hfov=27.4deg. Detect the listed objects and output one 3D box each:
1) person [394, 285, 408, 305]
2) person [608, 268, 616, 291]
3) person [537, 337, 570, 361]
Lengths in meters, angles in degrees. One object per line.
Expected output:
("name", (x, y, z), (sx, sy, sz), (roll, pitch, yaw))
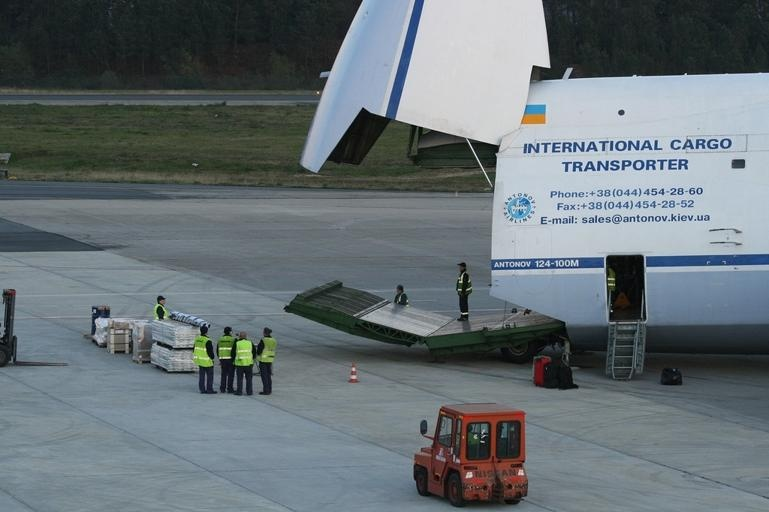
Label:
("person", (0.909, 2.081, 85.098), (0.834, 1.029, 1.038), (4, 9, 15))
("person", (11.398, 1.110, 79.089), (0.397, 0.880, 0.785), (-2, 3, 21))
("person", (8.732, 4.725, 80.471), (1.655, 0.298, 1.467), (-6, 6, 4))
